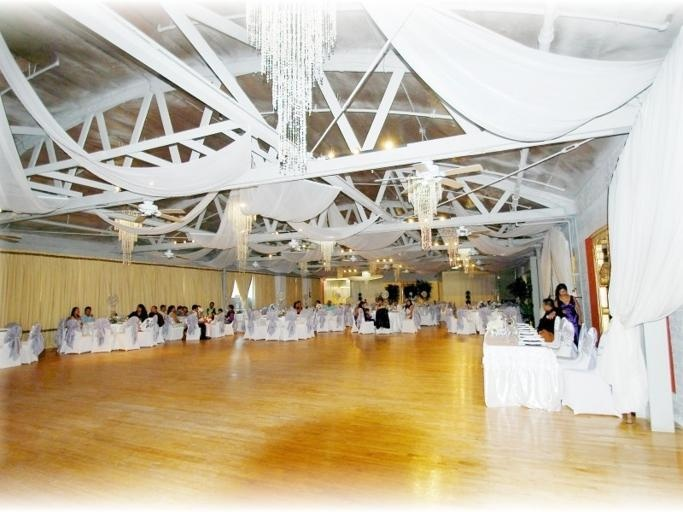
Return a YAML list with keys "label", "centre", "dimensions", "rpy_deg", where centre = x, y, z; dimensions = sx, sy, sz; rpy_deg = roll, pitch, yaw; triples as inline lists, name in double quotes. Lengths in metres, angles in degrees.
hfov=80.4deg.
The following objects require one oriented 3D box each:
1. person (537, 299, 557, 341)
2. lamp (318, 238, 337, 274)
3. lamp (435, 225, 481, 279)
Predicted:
- label: "person"
  centre: [3.602, 1.120, 7.115]
  dimensions: [0.293, 0.935, 0.322]
  rpy_deg: [-15, 31, -3]
- label: "lamp"
  centre: [-0.533, -0.014, 14.894]
  dimensions: [0.736, 0.669, 2.326]
  rpy_deg: [0, -25, 3]
- label: "lamp"
  centre: [4.464, -0.158, 15.503]
  dimensions: [0.755, 1.234, 2.893]
  rpy_deg: [-4, 13, 6]
